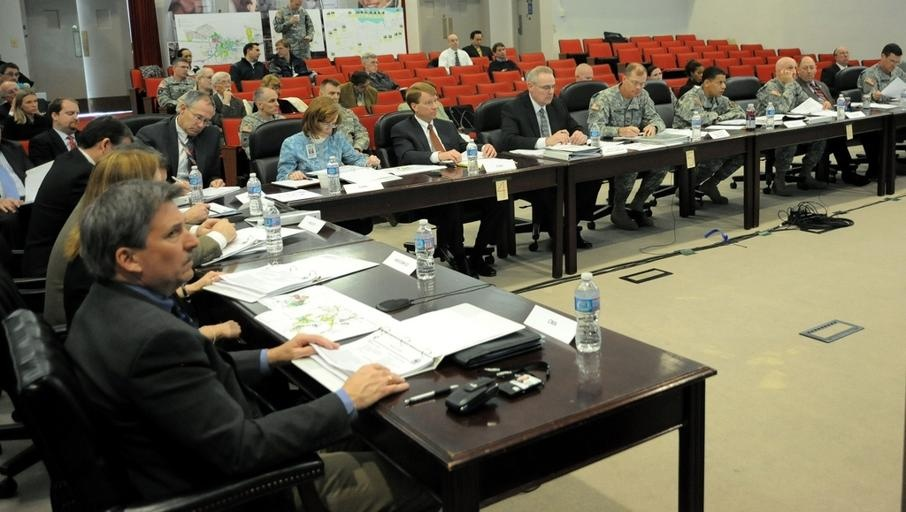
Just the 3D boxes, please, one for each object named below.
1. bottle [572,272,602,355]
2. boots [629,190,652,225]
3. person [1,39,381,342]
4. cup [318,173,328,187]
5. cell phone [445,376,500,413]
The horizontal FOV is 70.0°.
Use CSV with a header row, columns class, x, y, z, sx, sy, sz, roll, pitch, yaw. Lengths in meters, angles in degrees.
class,x,y,z,sx,sy,sz,roll,pitch,yaw
bottle,0.619,0.242,2.943,0.121,0.314,0.268,-1,17,11
boots,2.021,-0.495,6.732,0.147,0.296,0.322,0,7,-29
person,-1.599,-0.345,4.012,1.275,1.711,1.181,-5,15,-34
cup,-0.983,-0.588,4.968,0.107,0.075,0.102,0,2,0
cell phone,0.074,0.563,2.644,0.188,0.060,0.118,-21,27,-37
